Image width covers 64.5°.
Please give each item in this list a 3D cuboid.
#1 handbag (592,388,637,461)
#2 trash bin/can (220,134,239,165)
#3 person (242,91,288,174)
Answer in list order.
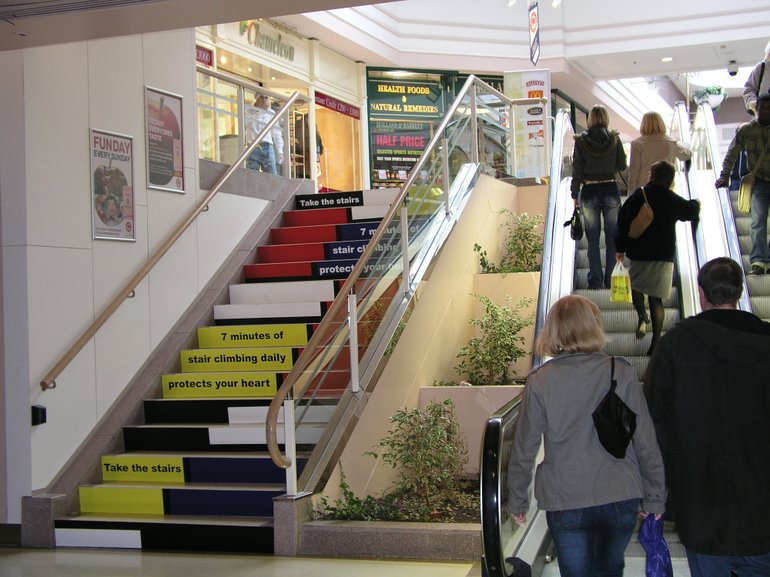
[{"bbox_3d":[0.857,0.490,2.263,0.163,0.263,0.059,-6,9,-2],"label":"handbag"},{"bbox_3d":[-1.970,-1.755,7.761,0.306,0.381,0.319,-1,-5,-11],"label":"trash bin/can"},{"bbox_3d":[-1.644,-2.096,8.201,0.314,1.127,0.929,1,1,13],"label":"person"}]
